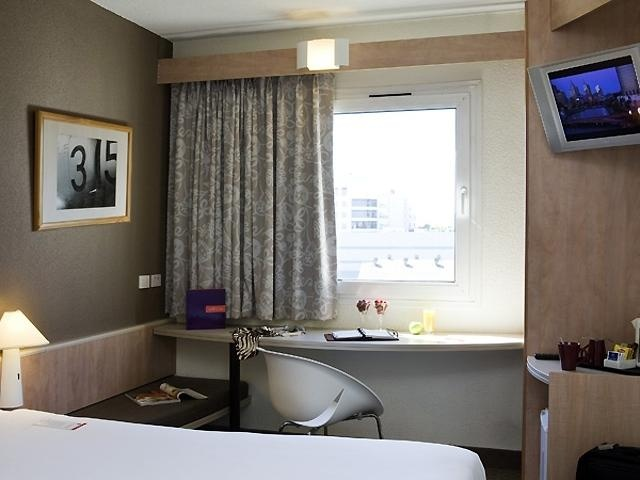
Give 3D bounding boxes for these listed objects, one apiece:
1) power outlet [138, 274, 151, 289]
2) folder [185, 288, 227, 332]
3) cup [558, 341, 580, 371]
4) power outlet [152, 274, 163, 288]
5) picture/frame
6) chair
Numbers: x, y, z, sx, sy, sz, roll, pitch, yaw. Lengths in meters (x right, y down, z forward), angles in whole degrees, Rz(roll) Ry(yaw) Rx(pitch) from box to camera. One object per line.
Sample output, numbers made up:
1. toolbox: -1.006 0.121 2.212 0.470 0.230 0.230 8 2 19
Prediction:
1. power outlet: -1.356 0.318 4.026 0.019 0.121 0.113 5 10 27
2. folder: -0.854 0.507 3.952 0.277 0.304 0.071 0 -1 -7
3. cup: 1.281 0.592 2.704 0.123 0.140 0.132 1 -4 0
4. power outlet: -1.295 0.318 4.141 0.024 0.111 0.126 3 9 16
5. picture/frame: -1.608 -0.476 3.482 0.043 0.744 0.893 3 2 23
6. chair: -0.044 0.869 3.293 0.552 0.713 0.609 -5 5 -33
